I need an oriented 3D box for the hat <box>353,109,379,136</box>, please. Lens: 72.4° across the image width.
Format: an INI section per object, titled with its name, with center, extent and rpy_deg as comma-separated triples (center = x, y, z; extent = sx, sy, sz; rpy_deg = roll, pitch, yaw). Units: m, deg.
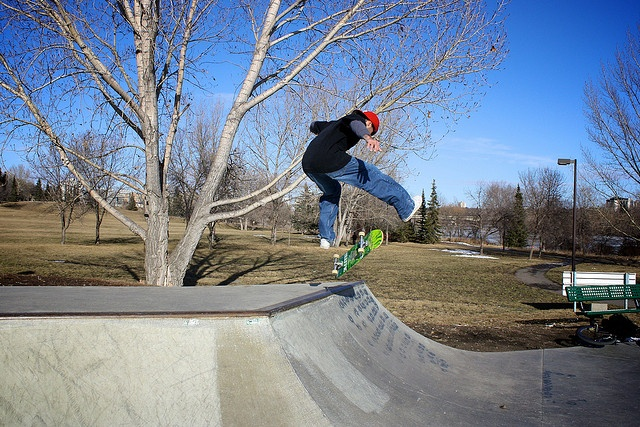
[hat]
center = 0.695, -1.404, 6.571
extent = 0.367, 0.363, 0.749
rpy_deg = 3, -1, 4
